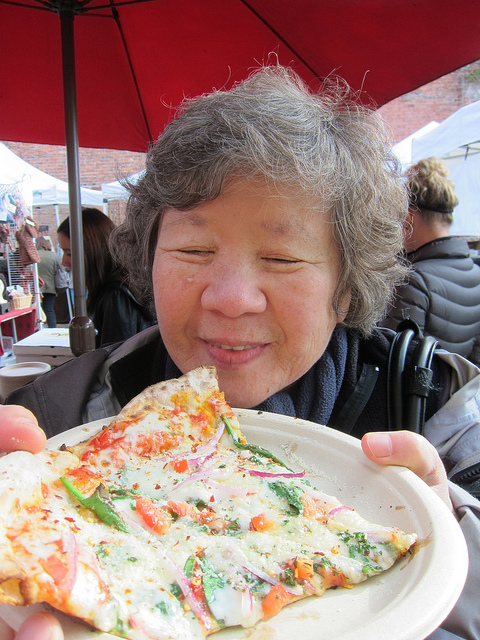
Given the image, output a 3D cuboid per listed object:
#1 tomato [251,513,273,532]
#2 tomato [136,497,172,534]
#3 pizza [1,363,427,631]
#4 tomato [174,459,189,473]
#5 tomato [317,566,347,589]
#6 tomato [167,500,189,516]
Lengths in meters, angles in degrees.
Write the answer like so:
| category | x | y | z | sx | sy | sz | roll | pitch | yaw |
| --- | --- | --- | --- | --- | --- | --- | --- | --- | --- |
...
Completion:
| category | x | y | z | sx | sy | sz | roll | pitch | yaw |
| --- | --- | --- | --- | --- | --- | --- | --- | --- | --- |
| tomato | 0.065 | 0.547 | 1.411 | 0.041 | 0.011 | 0.037 | -8 | 42 | -40 |
| tomato | -0.236 | 0.515 | 1.390 | 0.100 | 0.026 | 0.051 | 37 | 43 | 21 |
| pizza | -0.147 | 0.419 | 1.315 | 0.664 | 0.065 | 0.545 | -10 | 21 | -32 |
| tomato | -0.184 | 0.450 | 1.609 | 0.032 | 0.029 | 0.032 | 8 | 7 | 41 |
| tomato | 0.226 | 0.621 | 1.260 | 0.051 | 0.039 | 0.019 | 39 | -2 | 9 |
| tomato | -0.174 | 0.523 | 1.454 | 0.043 | 0.010 | 0.033 | 16 | 9 | 15 |
